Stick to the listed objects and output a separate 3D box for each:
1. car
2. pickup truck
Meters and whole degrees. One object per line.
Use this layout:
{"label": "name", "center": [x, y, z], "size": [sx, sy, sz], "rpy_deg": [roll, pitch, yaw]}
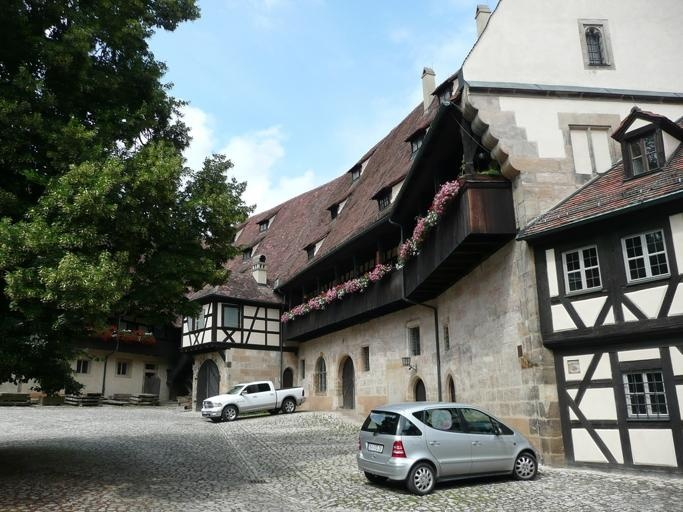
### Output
{"label": "car", "center": [2.092, 3.833, 11.075], "size": [3.211, 1.732, 0.870], "rpy_deg": [5, -18, -15]}
{"label": "pickup truck", "center": [-4.239, 6.551, 24.533], "size": [4.068, 1.569, 1.854], "rpy_deg": [16, -32, -35]}
